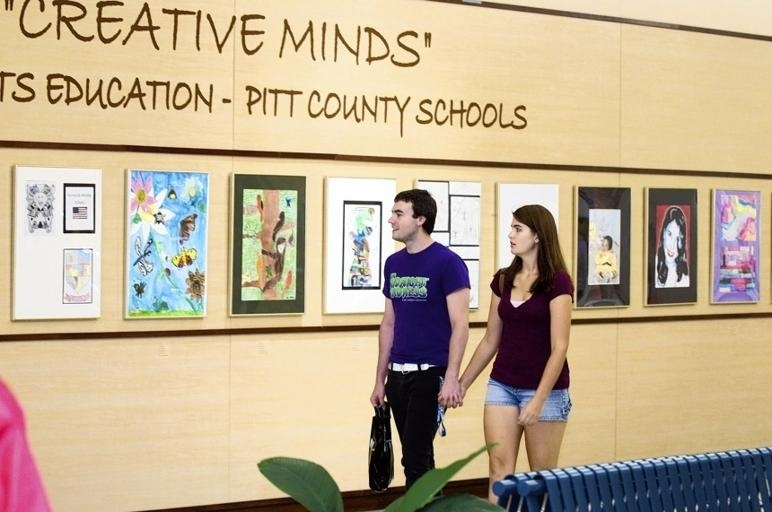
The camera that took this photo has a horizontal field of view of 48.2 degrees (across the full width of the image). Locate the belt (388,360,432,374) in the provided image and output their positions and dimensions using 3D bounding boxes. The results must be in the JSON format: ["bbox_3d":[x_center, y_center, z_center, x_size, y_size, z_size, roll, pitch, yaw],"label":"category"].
[{"bbox_3d":[0.182,0.804,6.210,0.321,0.065,0.041,-2,0,20],"label":"belt"}]

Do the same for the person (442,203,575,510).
[{"bbox_3d":[0.961,0.624,6.096,0.706,2.061,0.339,-2,0,11],"label":"person"}]

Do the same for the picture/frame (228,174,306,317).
[{"bbox_3d":[-0.951,-0.071,7.037,0.609,1.320,0.092,0,-30,-6],"label":"picture/frame"}]

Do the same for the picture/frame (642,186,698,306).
[{"bbox_3d":[2.625,-0.088,7.936,0.564,1.100,0.112,-2,0,-26],"label":"picture/frame"}]
